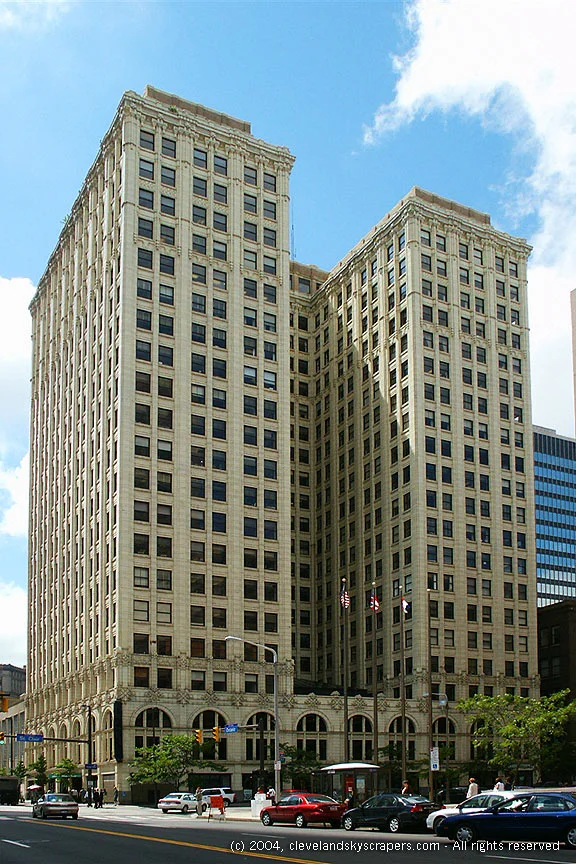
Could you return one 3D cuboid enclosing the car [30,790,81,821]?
[{"bbox_3d":[-12.178,20.233,92.544,1.897,1.606,3.014,4,-17,-18],"label":"car"}]
